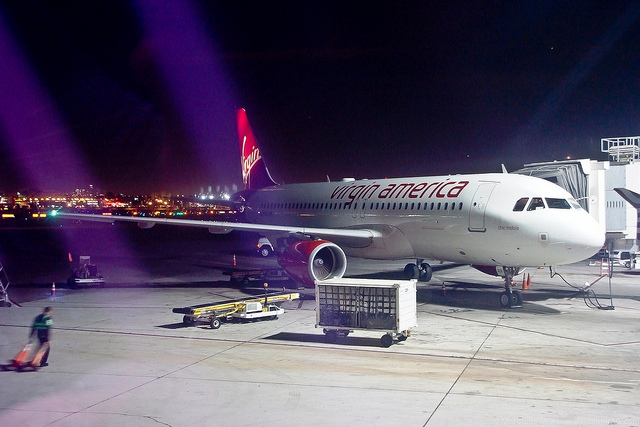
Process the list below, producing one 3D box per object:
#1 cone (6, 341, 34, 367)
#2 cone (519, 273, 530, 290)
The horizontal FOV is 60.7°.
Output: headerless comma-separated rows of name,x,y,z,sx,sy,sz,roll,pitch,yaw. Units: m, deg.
cone,-9.419,4.501,17.054,0.515,0.461,1.213,26,-35,-34
cone,10.197,3.529,27.404,0.499,0.588,0.520,1,3,43
